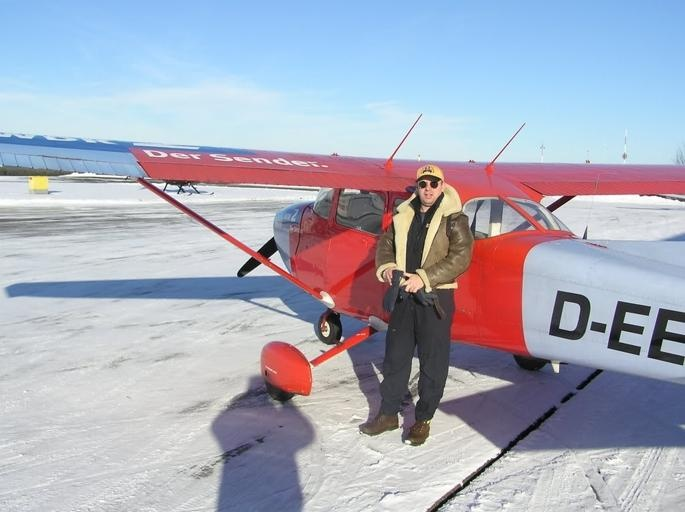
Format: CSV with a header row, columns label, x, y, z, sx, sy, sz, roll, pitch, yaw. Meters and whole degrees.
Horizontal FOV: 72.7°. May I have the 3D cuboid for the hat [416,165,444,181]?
label,x,y,z,sx,sy,sz,roll,pitch,yaw
hat,0.733,-0.683,3.863,0.196,0.097,0.242,0,5,21

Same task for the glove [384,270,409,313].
label,x,y,z,sx,sy,sz,roll,pitch,yaw
glove,0.477,0.288,3.876,0.148,0.353,0.175,23,16,24

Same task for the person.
label,x,y,z,sx,sy,sz,roll,pitch,yaw
person,0.625,0.441,3.988,0.800,2.393,0.611,5,17,16
